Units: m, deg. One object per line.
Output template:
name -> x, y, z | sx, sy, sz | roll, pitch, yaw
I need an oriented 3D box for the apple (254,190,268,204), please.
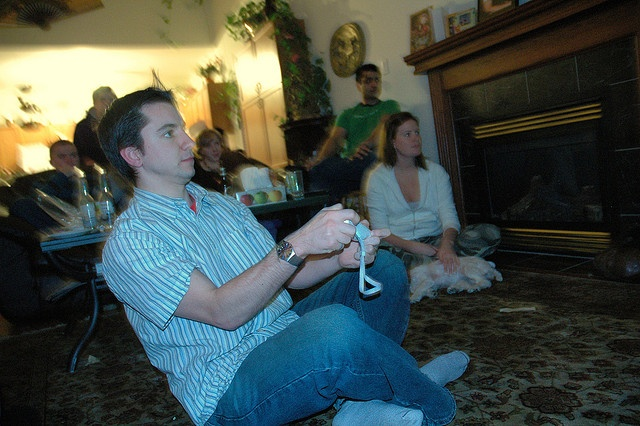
apple -> -0.395, -0.108, 2.864 | 0.078, 0.082, 0.079 | 1, 6, 10

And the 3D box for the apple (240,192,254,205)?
apple -> -0.487, -0.096, 2.843 | 0.079, 0.081, 0.092 | -6, -20, -13

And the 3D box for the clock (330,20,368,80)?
clock -> 0.296, -1.886, 4.875 | 0.591, 0.577, 0.064 | -25, 36, -38

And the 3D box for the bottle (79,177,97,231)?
bottle -> -1.450, -0.071, 2.629 | 0.091, 0.320, 0.255 | -14, 11, -28

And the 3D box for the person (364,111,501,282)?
person -> 0.745, -0.131, 2.948 | 0.906, 1.104, 0.843 | -8, 15, -3
